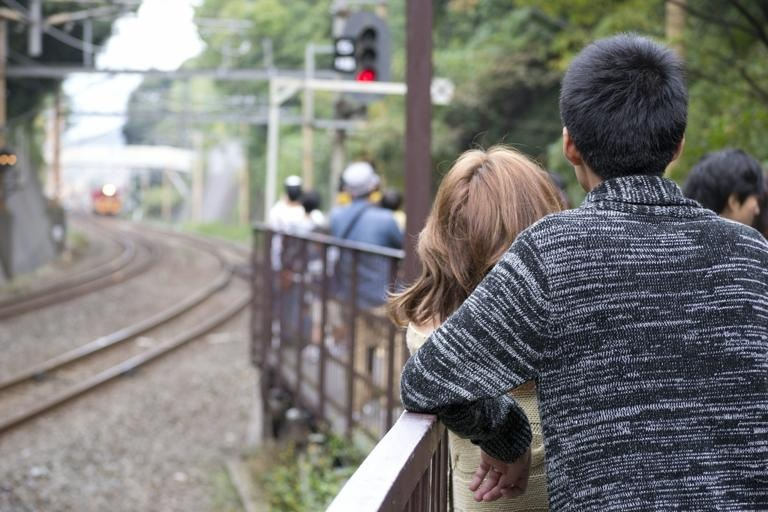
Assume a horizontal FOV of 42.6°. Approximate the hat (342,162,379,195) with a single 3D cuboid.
[{"bbox_3d":[-0.180,-0.621,8.276,0.230,0.256,0.308,-7,-14,-7],"label":"hat"}]
